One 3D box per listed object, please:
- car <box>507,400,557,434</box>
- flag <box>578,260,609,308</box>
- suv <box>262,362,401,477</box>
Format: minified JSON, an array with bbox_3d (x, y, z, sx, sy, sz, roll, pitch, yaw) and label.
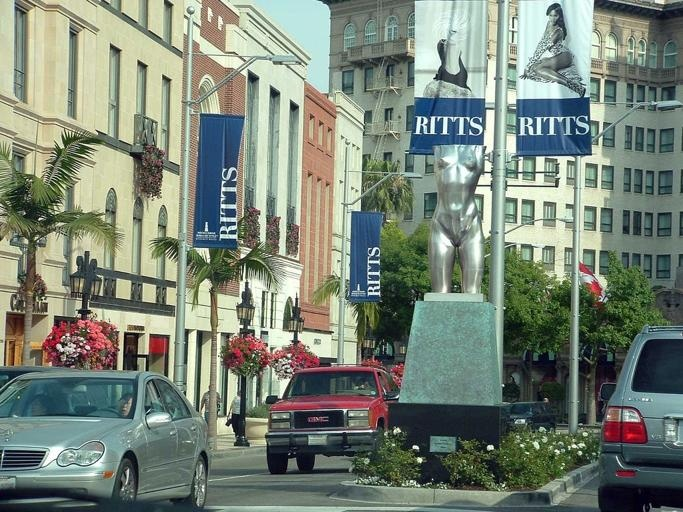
[{"bbox_3d":[7.684,6.343,51.030,1.655,1.115,5.374,0,-7,12],"label":"car"},{"bbox_3d":[13.477,1.445,68.076,1.598,0.547,4.609,22,-11,27],"label":"flag"},{"bbox_3d":[-0.295,3.674,28.652,2.786,2.517,2.685,1,-6,2],"label":"suv"}]
